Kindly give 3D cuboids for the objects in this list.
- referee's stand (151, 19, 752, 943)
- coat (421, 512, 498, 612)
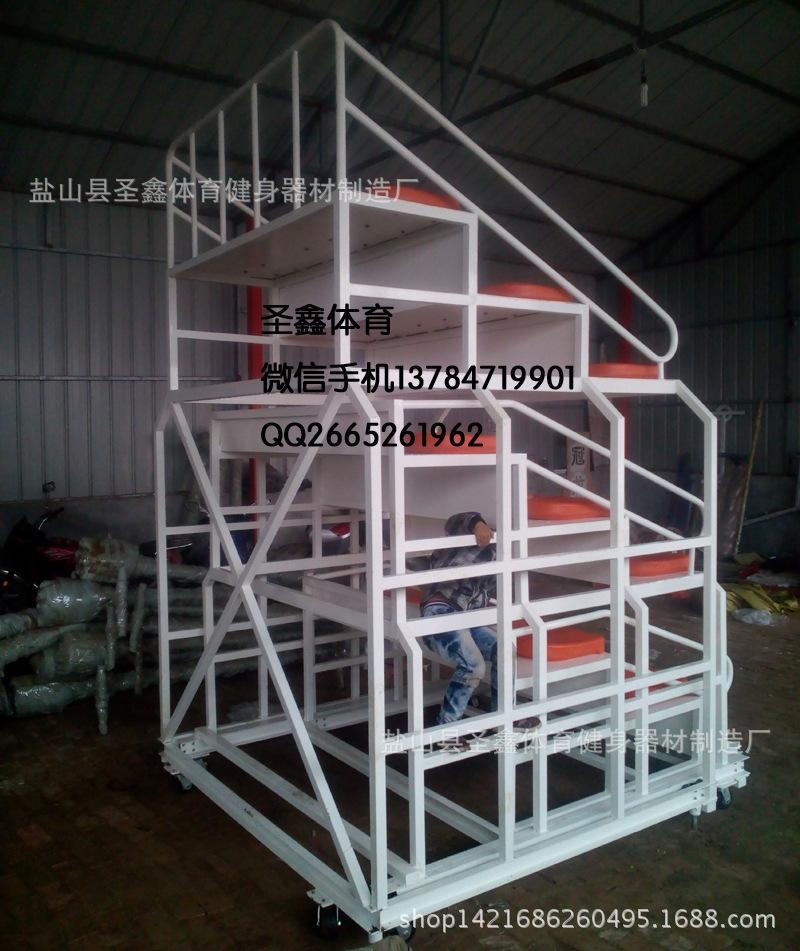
[{"bbox_3d":[0.335,0.070,5.040,2.938,3.230,2.907,-4,3,-35],"label":"referee's stand"},{"bbox_3d":[0.268,0.399,4.057,0.343,0.474,0.572,0,1,4],"label":"coat"}]
